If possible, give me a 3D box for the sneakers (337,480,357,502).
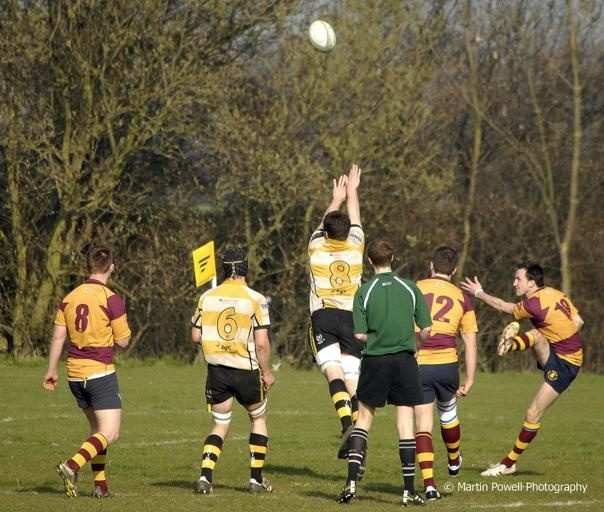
[{"bbox_3d":[0.575,3.050,15.290,0.130,0.211,0.385,11,-33,-6],"label":"sneakers"}]

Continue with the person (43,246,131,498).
[{"bbox_3d":[-2.778,1.511,15.671,0.985,2.972,0.728,3,-1,-11],"label":"person"}]

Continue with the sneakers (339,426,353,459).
[{"bbox_3d":[0.582,2.578,16.148,0.138,0.500,0.208,9,5,-24],"label":"sneakers"}]

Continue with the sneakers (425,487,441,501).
[{"bbox_3d":[1.692,3.111,15.606,0.095,0.134,0.277,0,-2,10],"label":"sneakers"}]

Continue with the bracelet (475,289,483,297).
[{"bbox_3d":[2.533,0.534,17.194,0.030,0.117,0.105,22,-20,-18],"label":"bracelet"}]

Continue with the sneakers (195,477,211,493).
[{"bbox_3d":[-1.296,3.007,15.579,0.097,0.177,0.308,1,-22,7],"label":"sneakers"}]

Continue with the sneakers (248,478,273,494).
[{"bbox_3d":[-0.557,3.053,15.864,0.130,0.190,0.373,3,1,38],"label":"sneakers"}]

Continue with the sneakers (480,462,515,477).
[{"bbox_3d":[2.730,2.997,16.760,0.456,0.211,0.195,-1,-1,-11],"label":"sneakers"}]

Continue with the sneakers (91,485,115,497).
[{"bbox_3d":[-2.585,3.067,15.518,0.284,0.156,0.117,6,-4,-7],"label":"sneakers"}]
